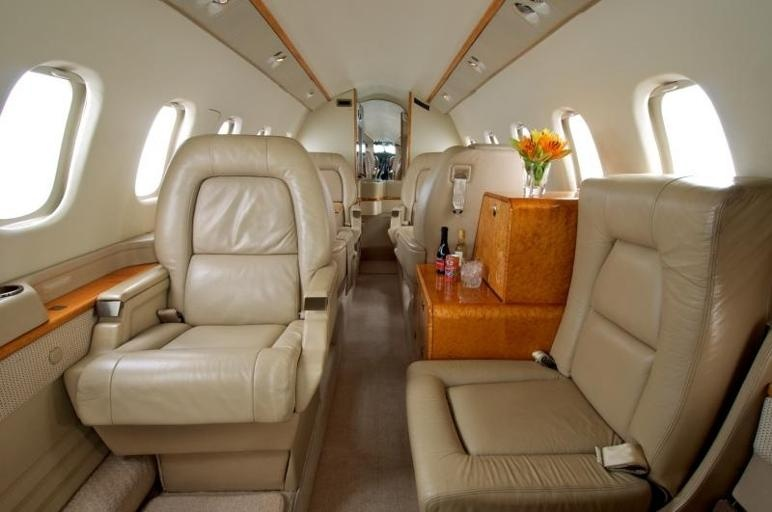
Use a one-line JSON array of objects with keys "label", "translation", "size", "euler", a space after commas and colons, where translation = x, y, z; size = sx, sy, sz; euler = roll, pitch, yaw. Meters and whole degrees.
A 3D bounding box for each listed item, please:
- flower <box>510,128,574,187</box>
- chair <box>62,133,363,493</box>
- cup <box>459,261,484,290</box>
[{"label": "flower", "translation": [0.905, -0.532, 2.996], "size": [0.337, 0.373, 0.368], "euler": [-4, 15, -34]}, {"label": "chair", "translation": [-0.926, 0.299, 2.816], "size": [1.251, 1.899, 0.840], "euler": [0, 11, -1]}, {"label": "cup", "translation": [0.502, 0.107, 3.050], "size": [0.143, 0.154, 0.144], "euler": [2, 12, 0]}]
